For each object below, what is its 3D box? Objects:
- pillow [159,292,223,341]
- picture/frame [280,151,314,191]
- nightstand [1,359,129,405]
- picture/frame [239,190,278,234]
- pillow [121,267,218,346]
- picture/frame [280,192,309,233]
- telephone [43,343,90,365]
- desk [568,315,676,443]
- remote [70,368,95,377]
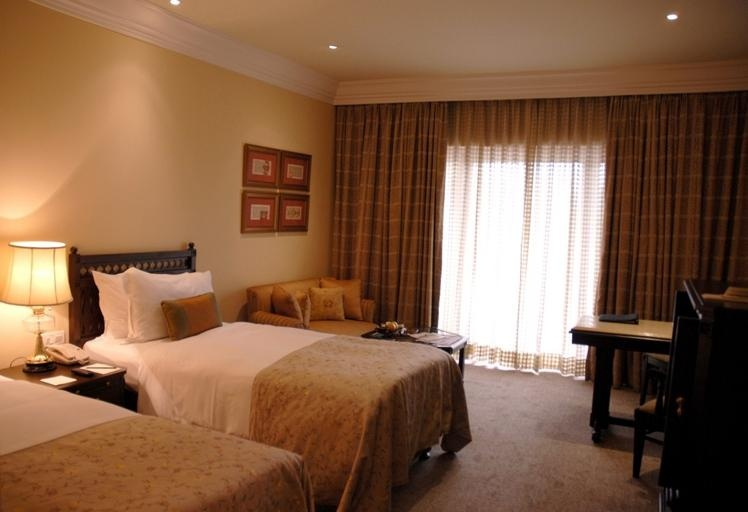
[{"bbox_3d":[-1.758,0.588,5.290,0.222,0.403,0.734,-14,-1,26],"label":"pillow"},{"bbox_3d":[-1.038,-1.096,7.101,0.042,0.486,0.590,9,8,34],"label":"picture/frame"},{"bbox_3d":[-2.497,1.058,4.506,0.553,0.350,0.564,5,7,21],"label":"nightstand"},{"bbox_3d":[-1.403,-0.527,6.656,0.042,0.514,0.601,9,8,35],"label":"picture/frame"},{"bbox_3d":[-1.956,0.501,5.379,0.356,0.695,1.025,-9,-5,27],"label":"pillow"},{"bbox_3d":[-1.067,-0.556,7.141,0.042,0.480,0.554,8,7,38],"label":"picture/frame"},{"bbox_3d":[-2.665,0.843,4.669,0.259,0.086,0.192,5,7,18],"label":"telephone"},{"bbox_3d":[2.441,1.259,5.678,1.133,1.082,1.171,3,5,23],"label":"desk"},{"bbox_3d":[-2.425,0.967,4.487,0.156,0.036,0.086,6,9,19],"label":"remote"}]
